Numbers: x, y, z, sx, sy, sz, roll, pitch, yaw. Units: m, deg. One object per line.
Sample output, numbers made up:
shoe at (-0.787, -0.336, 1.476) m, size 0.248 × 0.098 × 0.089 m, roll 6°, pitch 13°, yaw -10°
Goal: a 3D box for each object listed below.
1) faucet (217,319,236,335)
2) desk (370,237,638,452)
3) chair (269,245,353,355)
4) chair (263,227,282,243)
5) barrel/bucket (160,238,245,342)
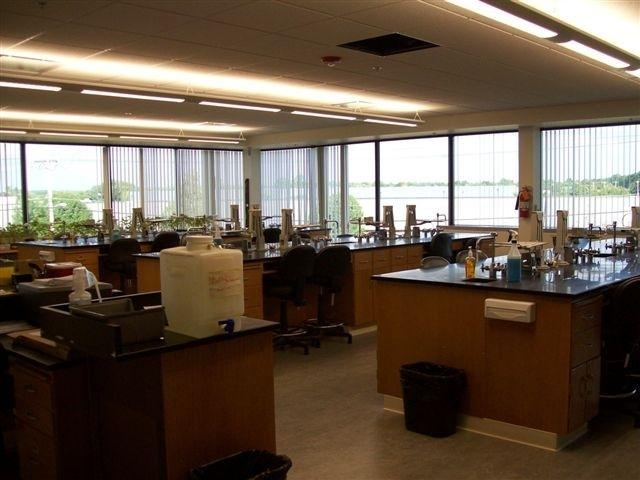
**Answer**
faucet at (-0.499, 0.460, 2.639) m, size 0.081 × 0.060 × 0.027 m, roll 3°, pitch -1°, yaw -43°
desk at (1.390, 0.836, 3.908) m, size 1.759 × 1.106 × 0.946 m, roll 2°, pitch 7°, yaw 27°
chair at (-0.089, 0.701, 5.738) m, size 1.152 × 1.346 × 0.833 m, roll -3°, pitch 5°, yaw -42°
chair at (-0.845, -0.102, 8.746) m, size 0.282 × 0.373 × 0.308 m, roll -2°, pitch 14°, yaw -18°
barrel/bucket at (-0.639, 0.275, 2.633) m, size 0.457 × 0.443 × 0.235 m, roll -2°, pitch 7°, yaw -5°
